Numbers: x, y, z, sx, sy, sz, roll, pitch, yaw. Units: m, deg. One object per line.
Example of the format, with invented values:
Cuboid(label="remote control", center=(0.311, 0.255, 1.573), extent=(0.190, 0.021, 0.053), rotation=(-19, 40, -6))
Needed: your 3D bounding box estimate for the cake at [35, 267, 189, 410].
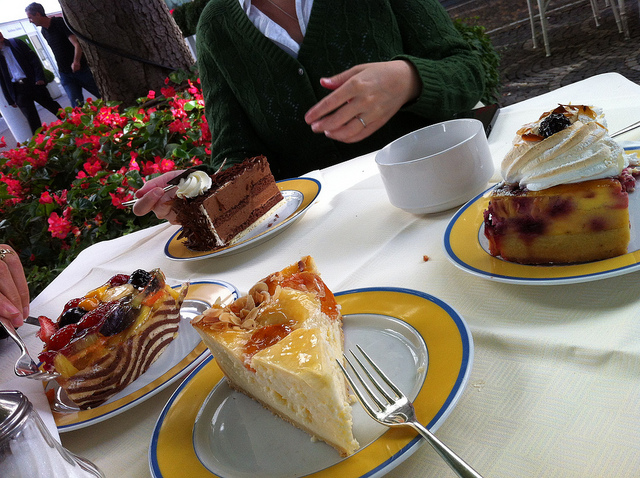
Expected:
Cuboid(label="cake", center=(-0.654, 0.272, 1.518), extent=(0.293, 0.229, 0.541), rotation=(5, 26, 19))

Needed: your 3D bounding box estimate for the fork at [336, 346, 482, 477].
Cuboid(label="fork", center=(0.136, 0.320, 1.088), extent=(0.073, 0.082, 0.559), rotation=(-23, 31, -16))

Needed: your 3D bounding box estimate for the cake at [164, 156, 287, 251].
Cuboid(label="cake", center=(-0.434, -0.215, 2.292), extent=(0.216, 0.388, 0.551), rotation=(-3, 29, 36))

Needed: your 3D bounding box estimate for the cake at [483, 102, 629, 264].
Cuboid(label="cake", center=(0.634, -0.139, 1.304), extent=(0.271, 0.260, 0.484), rotation=(-5, 22, 35))

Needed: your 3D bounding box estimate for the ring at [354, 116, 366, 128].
Cuboid(label="ring", center=(0.161, -0.475, 2.000), extent=(0.009, 0.038, 0.041), rotation=(-35, 35, 26))
